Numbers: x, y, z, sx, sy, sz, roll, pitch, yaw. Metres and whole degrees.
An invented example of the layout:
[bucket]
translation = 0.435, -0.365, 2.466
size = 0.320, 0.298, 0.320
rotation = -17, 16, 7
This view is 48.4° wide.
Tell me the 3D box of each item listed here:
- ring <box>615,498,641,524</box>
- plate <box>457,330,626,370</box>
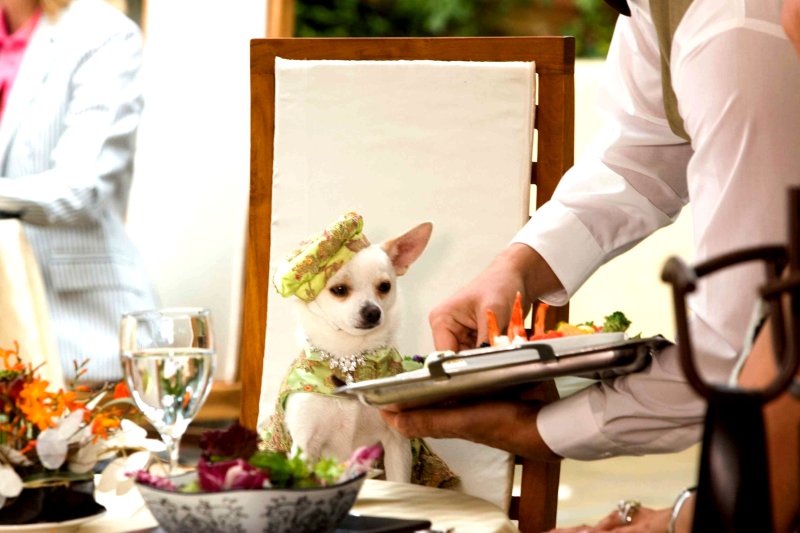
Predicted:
[ring]
translation = 0.402, 0.434, 1.580
size = 0.032, 0.043, 0.022
rotation = 6, -22, 36
[plate]
translation = 0.197, 0.128, 1.338
size = 0.145, 0.018, 0.104
rotation = -13, -9, -3
